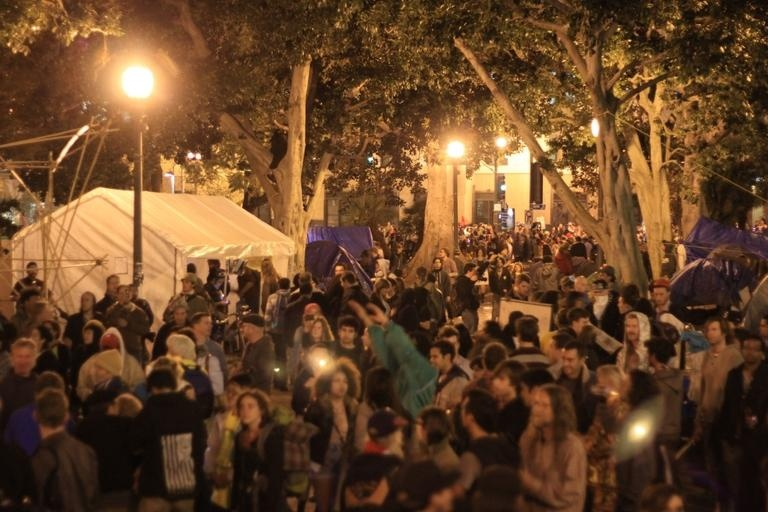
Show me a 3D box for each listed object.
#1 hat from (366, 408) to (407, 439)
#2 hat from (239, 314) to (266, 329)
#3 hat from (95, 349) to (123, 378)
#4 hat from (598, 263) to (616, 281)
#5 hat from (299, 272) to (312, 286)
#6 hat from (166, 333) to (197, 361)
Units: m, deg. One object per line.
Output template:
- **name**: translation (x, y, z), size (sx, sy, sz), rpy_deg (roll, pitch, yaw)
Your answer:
- **hat**: translation (0.023, 1.694, 7.520), size (0.331, 0.180, 0.233), rpy_deg (-20, 29, -12)
- **hat**: translation (-2.156, 1.024, 12.216), size (0.266, 0.110, 0.294), rpy_deg (7, 8, -39)
- **hat**: translation (-3.478, 1.374, 9.640), size (0.353, 0.326, 0.259), rpy_deg (10, 12, -9)
- **hat**: translation (4.905, 0.357, 16.633), size (0.320, 0.326, 0.257), rpy_deg (-11, 10, 45)
- **hat**: translation (-1.613, 0.513, 15.411), size (0.222, 0.279, 0.262), rpy_deg (4, -38, -6)
- **hat**: translation (-2.653, 1.205, 9.874), size (0.334, 0.379, 0.523), rpy_deg (2, -8, -18)
